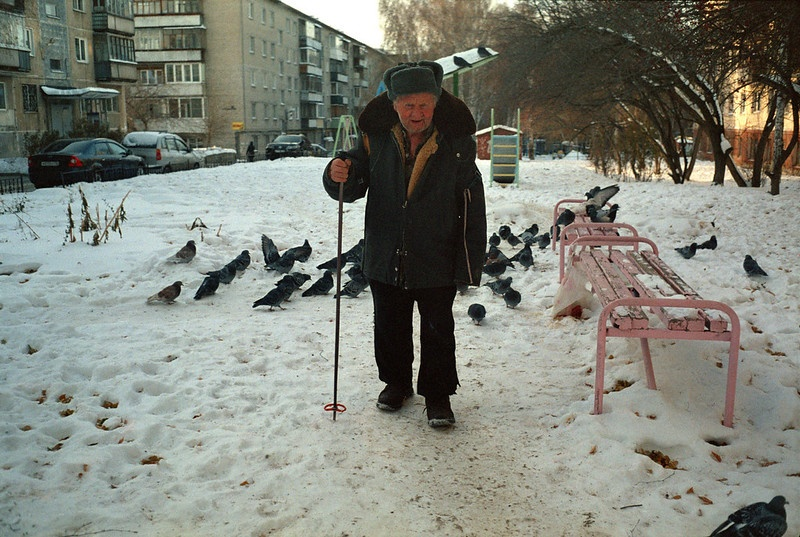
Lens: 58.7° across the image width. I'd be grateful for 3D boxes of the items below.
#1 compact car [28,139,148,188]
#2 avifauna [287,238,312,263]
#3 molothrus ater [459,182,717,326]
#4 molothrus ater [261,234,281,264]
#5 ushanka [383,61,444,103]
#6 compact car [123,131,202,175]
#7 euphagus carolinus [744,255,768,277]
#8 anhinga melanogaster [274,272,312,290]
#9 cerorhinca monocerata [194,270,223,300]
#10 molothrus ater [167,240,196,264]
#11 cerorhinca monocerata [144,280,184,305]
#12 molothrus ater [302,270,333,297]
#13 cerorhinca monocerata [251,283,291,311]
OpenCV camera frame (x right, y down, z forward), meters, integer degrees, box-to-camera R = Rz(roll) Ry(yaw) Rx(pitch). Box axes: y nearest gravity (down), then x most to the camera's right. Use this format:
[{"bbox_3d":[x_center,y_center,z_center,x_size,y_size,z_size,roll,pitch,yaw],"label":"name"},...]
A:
[{"bbox_3d":[-9.302,-3.198,21.846,1.665,1.538,4.152,-1,11,7],"label":"compact car"},{"bbox_3d":[-1.689,-0.279,11.932,0.401,0.360,0.256,16,22,39],"label":"avifauna"},{"bbox_3d":[2.807,-0.184,10.252,2.075,1.766,3.688,1,0,-32],"label":"molothrus ater"},{"bbox_3d":[-2.069,-0.263,11.447,0.240,0.409,0.513,8,22,-17],"label":"molothrus ater"},{"bbox_3d":[0.149,-1.824,7.083,0.411,0.254,0.491,-5,10,0],"label":"ushanka"},{"bbox_3d":[-8.461,-3.972,25.524,1.468,1.506,2.815,5,19,14],"label":"compact car"},{"bbox_3d":[5.194,0.005,10.474,0.338,0.287,0.210,17,-16,32],"label":"euphagus carolinus"},{"bbox_3d":[-1.533,0.196,10.522,0.525,0.226,0.222,25,-3,-38],"label":"anhinga melanogaster"},{"bbox_3d":[-2.720,0.250,10.310,0.268,0.307,0.606,4,15,19],"label":"cerorhinca monocerata"},{"bbox_3d":[-3.423,-0.241,11.222,0.430,0.452,0.258,13,0,-21],"label":"molothrus ater"},{"bbox_3d":[-3.243,0.367,9.849,0.455,0.311,0.326,-8,16,-29],"label":"cerorhinca monocerata"},{"bbox_3d":[-1.209,0.232,10.487,0.459,0.383,0.278,0,14,-14],"label":"molothrus ater"},{"bbox_3d":[-1.749,0.391,9.946,0.577,0.373,0.414,-6,15,-21],"label":"cerorhinca monocerata"}]
